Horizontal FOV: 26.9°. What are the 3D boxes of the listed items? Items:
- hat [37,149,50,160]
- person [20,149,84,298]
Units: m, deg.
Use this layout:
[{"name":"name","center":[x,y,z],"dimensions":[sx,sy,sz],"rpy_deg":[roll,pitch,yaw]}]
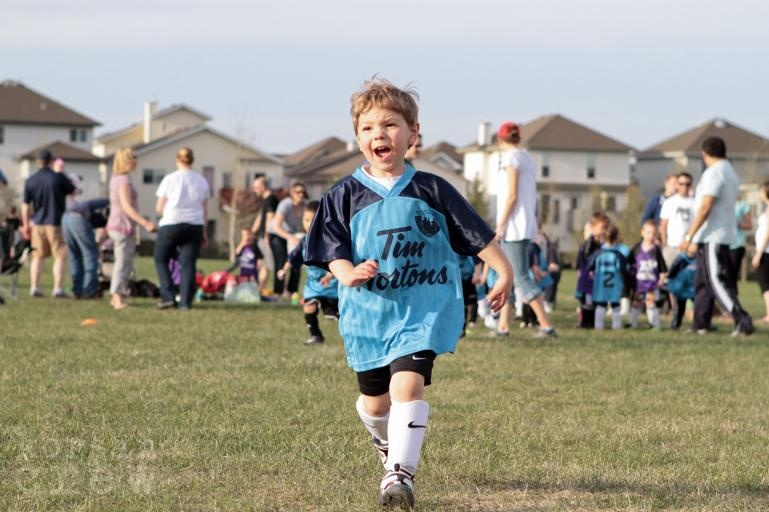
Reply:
[{"name":"hat","center":[-5.133,-1.536,24.252],"dimensions":[0.053,0.186,0.238],"rpy_deg":[12,15,42]},{"name":"person","center":[-5.110,-0.537,24.533],"dimensions":[0.826,2.222,0.656],"rpy_deg":[0,2,-1]}]
